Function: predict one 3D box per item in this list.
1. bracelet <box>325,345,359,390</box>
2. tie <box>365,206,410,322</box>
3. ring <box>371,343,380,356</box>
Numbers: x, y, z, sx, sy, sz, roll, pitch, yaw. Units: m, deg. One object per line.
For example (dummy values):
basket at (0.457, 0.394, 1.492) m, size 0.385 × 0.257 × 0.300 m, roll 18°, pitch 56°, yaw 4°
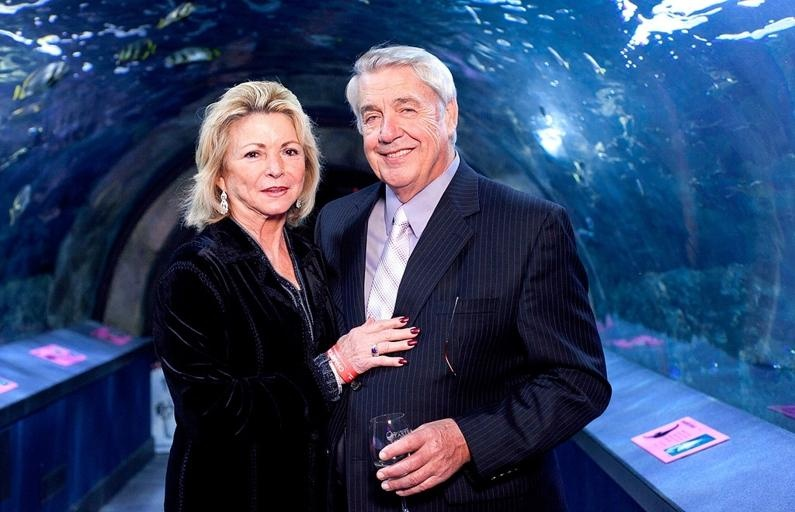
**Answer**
bracelet at (-0.328, 0.642, 3.253) m, size 0.108 × 0.221 × 0.177 m, roll -43°, pitch 16°, yaw -14°
tie at (-0.021, 0.043, 3.290) m, size 0.187 × 0.686 × 0.083 m, roll 26°, pitch -22°, yaw -29°
ring at (-0.120, 0.527, 3.115) m, size 0.052 × 0.063 × 0.018 m, roll -8°, pitch 4°, yaw 28°
